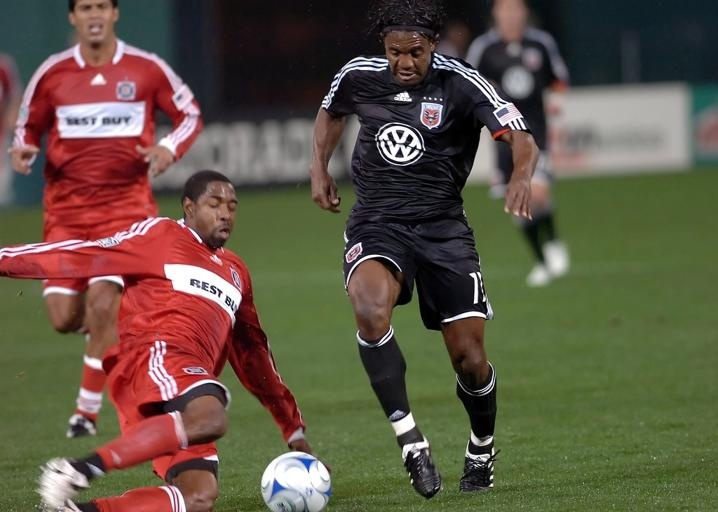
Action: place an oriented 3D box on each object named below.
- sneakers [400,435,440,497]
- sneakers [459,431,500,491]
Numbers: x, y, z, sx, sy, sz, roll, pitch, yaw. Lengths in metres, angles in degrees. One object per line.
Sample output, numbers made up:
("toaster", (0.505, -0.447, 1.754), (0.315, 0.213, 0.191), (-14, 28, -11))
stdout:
("sneakers", (0.391, 1.310, 6.715), (0.147, 0.443, 0.217), (-26, -15, 19))
("sneakers", (0.772, 1.375, 6.940), (0.148, 0.454, 0.195), (4, -11, 10))
